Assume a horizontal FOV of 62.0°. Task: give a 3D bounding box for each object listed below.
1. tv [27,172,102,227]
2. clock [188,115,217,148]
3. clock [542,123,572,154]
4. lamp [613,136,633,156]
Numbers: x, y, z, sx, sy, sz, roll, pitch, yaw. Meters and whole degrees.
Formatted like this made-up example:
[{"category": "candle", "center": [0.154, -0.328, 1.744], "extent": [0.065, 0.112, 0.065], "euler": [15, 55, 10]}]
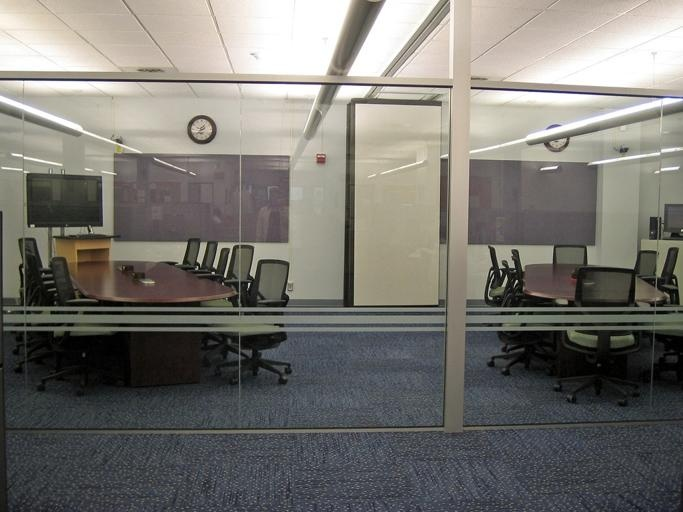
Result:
[{"category": "tv", "center": [-2.138, -0.421, 4.393], "extent": [0.074, 0.423, 0.602], "euler": [4, 6, 35]}, {"category": "clock", "center": [-1.065, -0.968, 4.376], "extent": [0.219, 0.215, 0.045], "euler": [1, 7, 3]}, {"category": "clock", "center": [1.703, -0.937, 4.505], "extent": [0.202, 0.223, 0.037], "euler": [-2, 2, -13]}, {"category": "lamp", "center": [2.236, -0.890, 4.534], "extent": [0.158, 0.142, 0.036], "euler": [1, 0, 1]}]
